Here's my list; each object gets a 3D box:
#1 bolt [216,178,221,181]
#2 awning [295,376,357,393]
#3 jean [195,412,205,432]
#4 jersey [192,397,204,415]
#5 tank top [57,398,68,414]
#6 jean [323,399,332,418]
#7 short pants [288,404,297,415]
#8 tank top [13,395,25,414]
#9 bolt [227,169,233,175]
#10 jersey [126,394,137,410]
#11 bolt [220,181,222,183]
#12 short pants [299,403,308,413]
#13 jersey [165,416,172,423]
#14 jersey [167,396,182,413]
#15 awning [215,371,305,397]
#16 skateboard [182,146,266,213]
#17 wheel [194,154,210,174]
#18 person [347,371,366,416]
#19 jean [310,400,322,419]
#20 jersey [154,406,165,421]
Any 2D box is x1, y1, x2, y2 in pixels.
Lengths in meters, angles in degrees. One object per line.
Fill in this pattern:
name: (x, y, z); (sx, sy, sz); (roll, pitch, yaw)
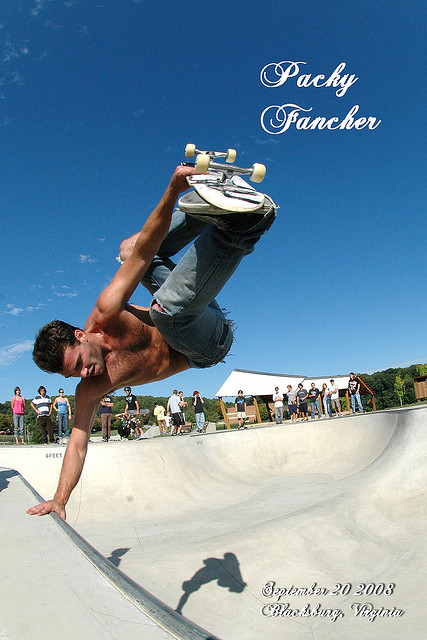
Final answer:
bolt: (0.027, -0.717, 2.332); (0.025, 0.022, 0.003); (2, -14, 0)
awning: (5.649, 3.066, 22.718); (2.165, 0.499, 2.225); (-5, -3, 3)
jean: (-0.378, 2.951, 13.447); (0.212, 0.514, 0.395); (-10, -7, -11)
jersey: (-0.444, 2.464, 13.303); (0.207, 0.477, 0.441); (-10, -7, -8)
tank top: (-3.629, 2.040, 10.875); (0.254, 0.344, 0.213); (-3, -10, -45)
jean: (4.076, 3.026, 16.036); (0.307, 0.414, 1.208); (-12, -7, 11)
short pants: (2.884, 3.132, 16.244); (0.401, 0.349, 0.103); (0, -11, 1)
tank top: (-4.613, 1.966, 10.649); (0.258, 0.420, 0.486); (-8, -7, -24)
bolt: (0.091, -0.752, 2.326); (0.022, 0.019, 0.008); (-2, 11, 4)
jersey: (-2.294, 2.256, 12.662); (0.268, 0.423, 0.370); (-9, -7, -14)
bolt: (0.040, -0.701, 2.324); (0.012, 0.010, 0.003); (1, 11, 10)
short pants: (3.145, 2.969, 15.663); (0.240, 0.307, 0.643); (-11, -7, 2)
jersey: (-1.381, 2.975, 13.788); (0.160, 0.212, 0.315); (-7, -7, -26)
jersey: (-1.068, 2.315, 12.642); (0.350, 0.477, 0.531); (-10, -7, -7)
awning: (2.078, 2.968, 21.492); (4.712, 1.337, 3.254); (-2, -12, 8)
skateboard: (0.054, -0.670, 2.296); (0.359, 0.381, 0.317); (-8, -8, -18)
wheel: (-0.052, -0.745, 2.206); (0.073, 0.077, 0.161); (-10, -7, -3)
person: (4.748, 2.458, 15.279); (0.512, 1.025, 1.783); (-13, -7, 14)
jean: (3.585, 3.050, 15.765); (0.353, 0.613, 1.557); (-12, -7, 10)
jersey: (-1.659, 2.818, 13.927); (0.272, 0.465, 0.613); (-10, -7, -8)
